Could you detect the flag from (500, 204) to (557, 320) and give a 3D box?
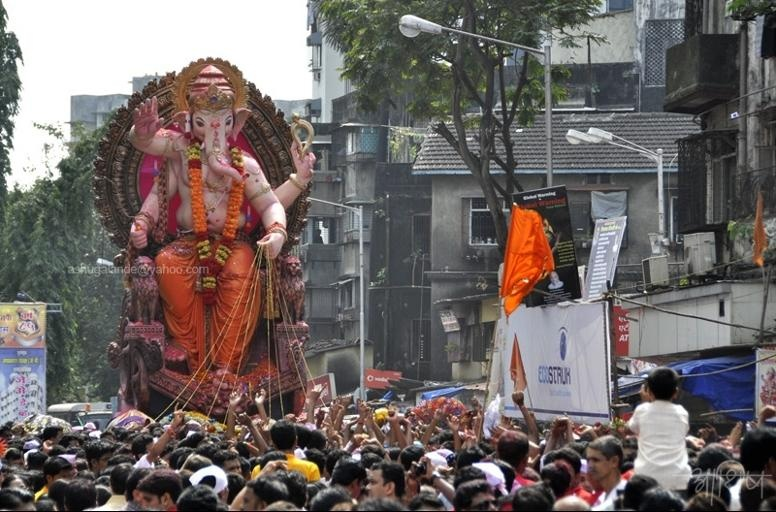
[{"bbox_3d":[2.879,-0.004,42.926,1.126,2.293,0.439,-2,-5,4],"label":"flag"}]

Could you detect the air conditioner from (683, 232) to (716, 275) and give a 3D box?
[{"bbox_3d":[7.445,-0.133,49.292,0.935,1.381,1.109,1,0,11],"label":"air conditioner"}]

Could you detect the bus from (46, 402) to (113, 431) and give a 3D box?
[{"bbox_3d":[-8.846,4.413,59.262,1.707,1.099,2.254,3,-7,-36],"label":"bus"}]

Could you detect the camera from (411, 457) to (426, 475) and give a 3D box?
[{"bbox_3d":[0.609,3.919,39.045,0.238,0.334,0.353,8,-39,-2],"label":"camera"}]

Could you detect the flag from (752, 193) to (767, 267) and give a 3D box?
[{"bbox_3d":[8.340,-0.702,46.329,0.333,1.731,1.713,-3,-5,11],"label":"flag"}]
